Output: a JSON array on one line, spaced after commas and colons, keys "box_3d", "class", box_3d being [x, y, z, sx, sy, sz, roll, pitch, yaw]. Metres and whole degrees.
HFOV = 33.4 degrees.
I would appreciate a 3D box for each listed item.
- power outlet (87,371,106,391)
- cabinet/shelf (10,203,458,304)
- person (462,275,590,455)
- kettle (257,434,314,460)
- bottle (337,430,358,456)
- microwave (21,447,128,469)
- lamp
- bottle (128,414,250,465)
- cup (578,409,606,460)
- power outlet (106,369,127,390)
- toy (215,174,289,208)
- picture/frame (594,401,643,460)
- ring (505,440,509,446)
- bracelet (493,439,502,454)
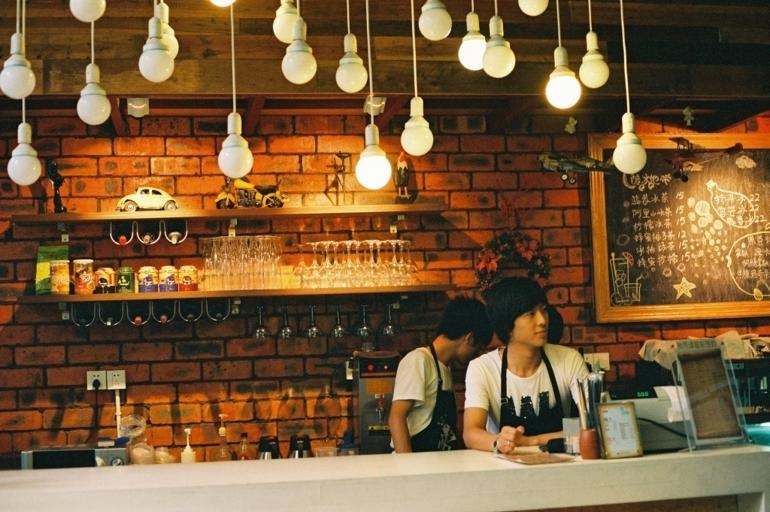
[{"box_3d": [-1.873, 0.804, 8.313, 0.133, 0.126, 0.034, -3, -13, -3], "class": "power outlet"}, {"box_3d": [-1.060, -0.024, 8.401, 2.885, 0.697, 0.400, 0, 12, -1], "class": "cabinet/shelf"}, {"box_3d": [0.826, 0.690, 7.824, 0.874, 1.251, 0.689, 2, -18, -9], "class": "person"}, {"box_3d": [-0.649, 1.221, 8.280, 0.361, 0.157, 0.249, -2, -13, -7], "class": "kettle"}, {"box_3d": [-0.235, 1.208, 8.279, 0.138, 0.137, 0.099, 1, -11, 5], "class": "bottle"}, {"box_3d": [-1.850, 1.206, 7.764, 0.658, 0.138, 0.271, 8, -18, -41], "class": "microwave"}, {"box_3d": [-0.347, -0.994, 7.111, 3.456, 1.364, 1.110, -3, -13, -5], "class": "lamp"}, {"box_3d": [-1.343, 1.147, 8.205, 0.695, 0.342, 0.319, -1, -14, -12], "class": "bottle"}, {"box_3d": [1.111, 1.019, 6.983, 0.143, 0.231, 0.155, -1, -8, 0], "class": "cup"}, {"box_3d": [-1.753, 0.803, 8.318, 0.120, 0.143, 0.019, -1, -13, -8], "class": "power outlet"}, {"box_3d": [-0.886, -0.399, 8.318, 0.388, 0.224, 0.206, 0, -7, 0], "class": "toy"}, {"box_3d": [1.264, 0.958, 6.995, 0.287, 0.350, 0.047, -1, -22, -9], "class": "picture/frame"}, {"box_3d": [0.679, 1.027, 7.093, 0.029, 0.029, 0.005, -4, -13, 1], "class": "ring"}, {"box_3d": [0.622, 1.059, 7.152, 0.045, 0.073, 0.070, -6, -49, 7], "class": "bracelet"}]
